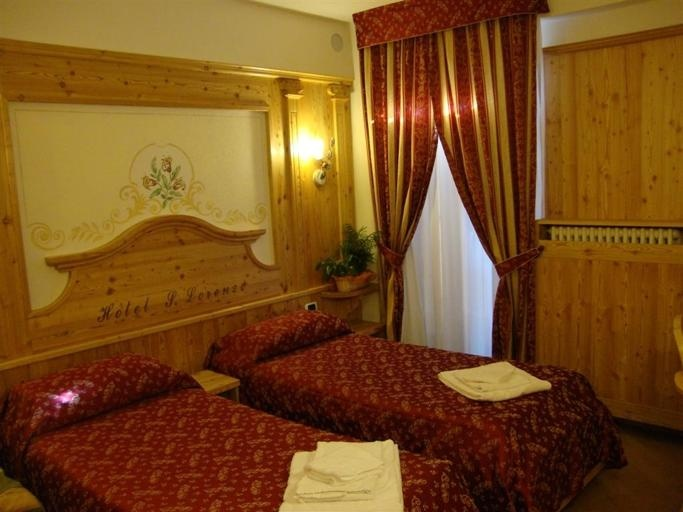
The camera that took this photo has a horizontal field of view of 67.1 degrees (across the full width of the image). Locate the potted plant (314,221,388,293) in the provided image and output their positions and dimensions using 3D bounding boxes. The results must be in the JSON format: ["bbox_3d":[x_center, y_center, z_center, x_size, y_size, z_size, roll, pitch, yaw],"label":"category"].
[{"bbox_3d":[0.082,0.024,5.391,0.576,0.641,0.589,3,-9,-27],"label":"potted plant"}]
